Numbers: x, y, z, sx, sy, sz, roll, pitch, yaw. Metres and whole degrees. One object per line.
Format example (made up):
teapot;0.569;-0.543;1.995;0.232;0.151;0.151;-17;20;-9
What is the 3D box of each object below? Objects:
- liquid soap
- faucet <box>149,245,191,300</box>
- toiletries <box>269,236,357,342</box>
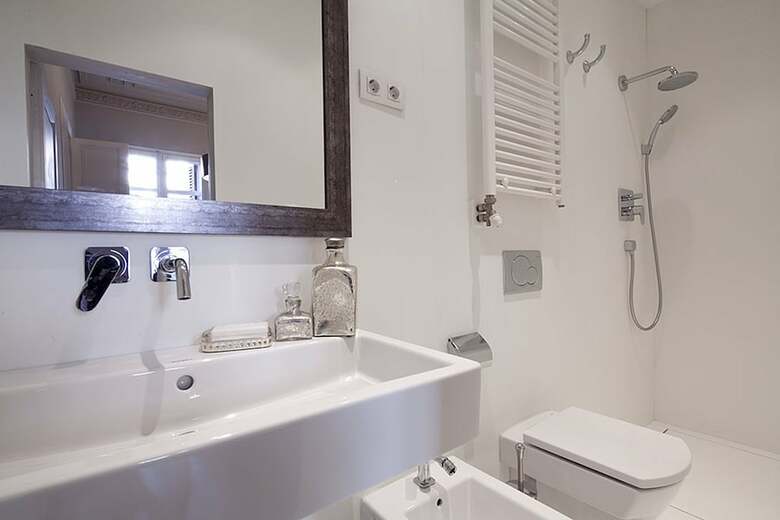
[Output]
liquid soap;-0.179;0.104;1.704;0.129;0.357;0.146;1;6;-32
faucet;-0.666;0.037;1.502;0.120;0.137;0.171;-7;12;-25
toiletries;-0.245;0.144;1.645;0.185;0.438;0.189;0;1;44
